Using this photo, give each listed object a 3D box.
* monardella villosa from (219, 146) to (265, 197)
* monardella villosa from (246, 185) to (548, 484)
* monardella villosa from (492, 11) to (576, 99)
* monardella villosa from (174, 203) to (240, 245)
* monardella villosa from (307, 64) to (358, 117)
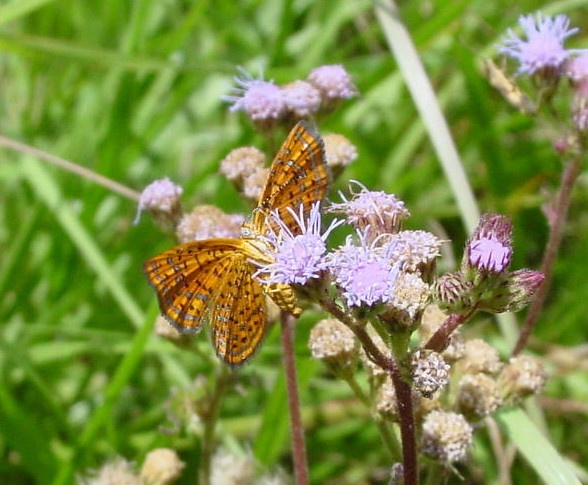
[{"bbox_3d":[-0.188,-0.286,2.686,0.164,0.203,0.191,-19,32,4],"label":"monardella villosa"},{"bbox_3d":[0.261,0.372,2.184,0.701,0.982,0.704,3,-14,-16],"label":"monardella villosa"},{"bbox_3d":[0.886,-0.690,2.414,0.254,0.238,0.172,-26,5,25],"label":"monardella villosa"},{"bbox_3d":[-0.333,-0.078,2.592,0.163,0.098,0.163,6,27,27],"label":"monardella villosa"},{"bbox_3d":[0.142,-0.613,2.744,0.187,0.222,0.214,11,20,-9],"label":"monardella villosa"}]
